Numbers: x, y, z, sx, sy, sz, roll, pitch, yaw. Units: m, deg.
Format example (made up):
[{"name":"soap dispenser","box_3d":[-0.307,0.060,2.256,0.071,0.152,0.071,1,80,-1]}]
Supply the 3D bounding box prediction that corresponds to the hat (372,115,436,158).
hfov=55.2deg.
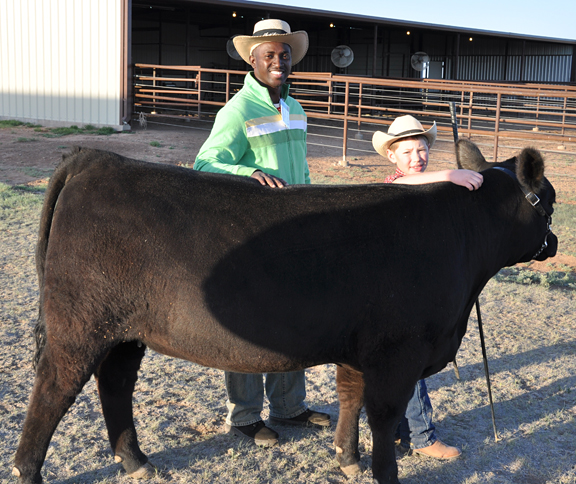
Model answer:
[{"name":"hat","box_3d":[0.633,-0.602,2.934,0.322,0.146,0.387,-9,-2,22]}]

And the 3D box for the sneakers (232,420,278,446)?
[{"name":"sneakers","box_3d":[-0.174,1.034,3.083,0.254,0.114,0.108,10,10,22]}]

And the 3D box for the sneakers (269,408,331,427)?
[{"name":"sneakers","box_3d":[0.066,0.990,3.208,0.332,0.128,0.124,-2,0,8]}]

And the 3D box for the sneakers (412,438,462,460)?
[{"name":"sneakers","box_3d":[0.808,1.121,2.949,0.190,0.077,0.109,-1,9,6]}]

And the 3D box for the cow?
[{"name":"cow","box_3d":[-0.051,0.334,2.409,2.262,1.489,0.691,-2,9,-14]}]
